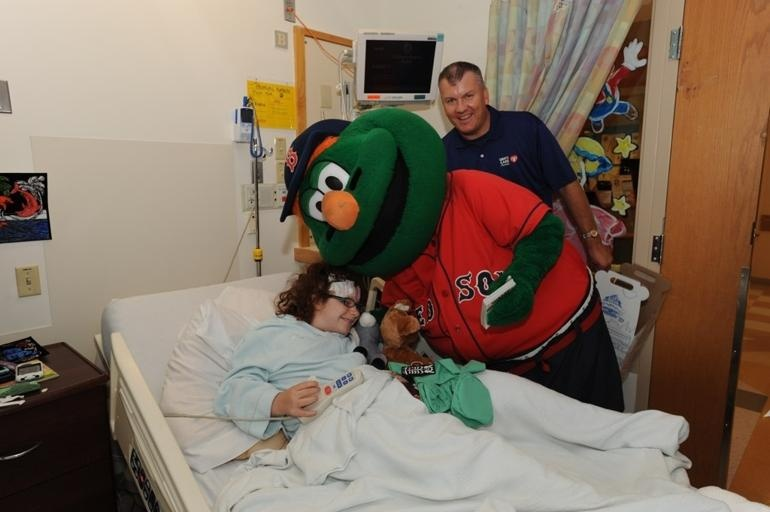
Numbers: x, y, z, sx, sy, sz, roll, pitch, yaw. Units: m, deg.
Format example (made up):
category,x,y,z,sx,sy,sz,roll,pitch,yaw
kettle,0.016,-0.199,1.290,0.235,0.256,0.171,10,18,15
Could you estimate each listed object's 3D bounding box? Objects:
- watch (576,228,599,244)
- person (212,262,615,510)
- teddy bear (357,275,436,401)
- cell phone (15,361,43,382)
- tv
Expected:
category,x,y,z,sx,sy,sz,roll,pitch,yaw
watch,1.034,-0.100,2.644,0.088,0.060,0.089,11,-13,-17
person,-0.147,0.581,2.065,0.745,0.537,1.184,-17,36,-43
teddy bear,0.056,0.362,2.213,0.243,0.546,0.409,-20,10,-19
cell phone,-1.557,0.502,2.266,0.137,0.043,0.113,14,21,43
tv,0.062,-1.066,2.862,0.470,0.378,0.067,-1,20,-9
